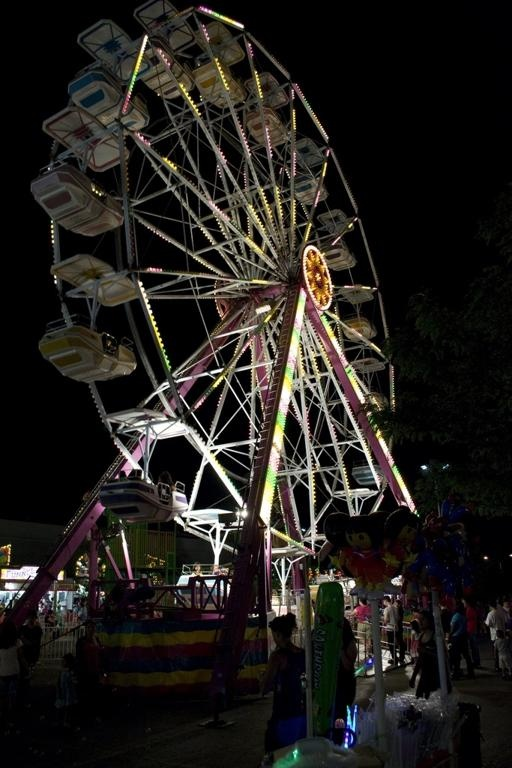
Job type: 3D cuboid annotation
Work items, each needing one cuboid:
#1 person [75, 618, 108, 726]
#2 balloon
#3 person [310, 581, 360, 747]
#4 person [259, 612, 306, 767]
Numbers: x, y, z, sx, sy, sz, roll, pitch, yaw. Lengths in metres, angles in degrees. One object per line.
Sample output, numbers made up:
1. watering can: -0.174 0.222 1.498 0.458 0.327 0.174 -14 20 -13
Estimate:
1. person: -2.140 3.681 8.558 0.423 1.115 0.738 7 -19 -12
2. balloon: 1.152 1.227 5.255 0.978 0.575 1.327 -7 -26 30
3. person: 0.538 1.899 4.568 0.279 1.109 0.277 5 -23 -12
4. person: 0.201 2.004 4.480 0.285 0.871 0.413 2 -18 5
